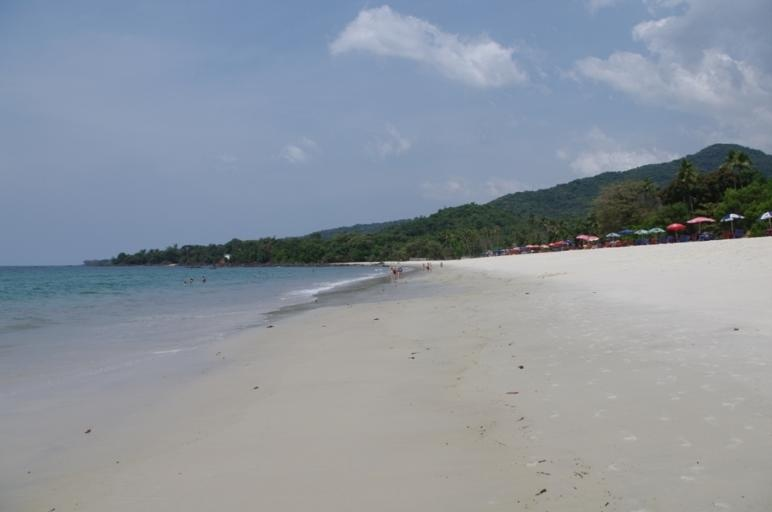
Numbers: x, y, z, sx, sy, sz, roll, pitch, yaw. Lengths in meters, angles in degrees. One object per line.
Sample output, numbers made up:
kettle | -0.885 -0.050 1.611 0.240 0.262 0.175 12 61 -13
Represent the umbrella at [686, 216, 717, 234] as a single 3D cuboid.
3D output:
umbrella | 31.768 -3.077 56.687 2.069 1.426 2.149 -2 15 23
